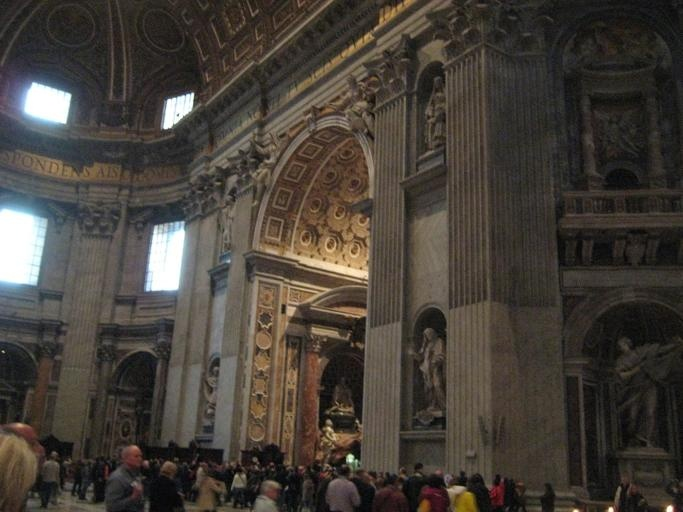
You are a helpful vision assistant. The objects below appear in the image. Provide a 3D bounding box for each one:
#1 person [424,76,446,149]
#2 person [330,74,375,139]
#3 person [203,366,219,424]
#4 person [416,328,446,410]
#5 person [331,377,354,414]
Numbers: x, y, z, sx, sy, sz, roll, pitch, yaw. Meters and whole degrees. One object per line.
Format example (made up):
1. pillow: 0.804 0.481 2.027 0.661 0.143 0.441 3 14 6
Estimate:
1. person: 2.386 -3.608 16.994 0.395 2.265 0.855 4 -20 -4
2. person: 0.356 -4.525 20.009 0.658 1.786 1.595 5 -46 -34
3. person: -4.605 4.919 23.873 0.268 2.158 1.116 14 -22 -28
4. person: 2.098 2.614 15.422 0.414 1.936 0.810 15 -23 -30
5. person: 0.015 5.112 24.413 0.991 1.717 0.508 5 -29 -13
